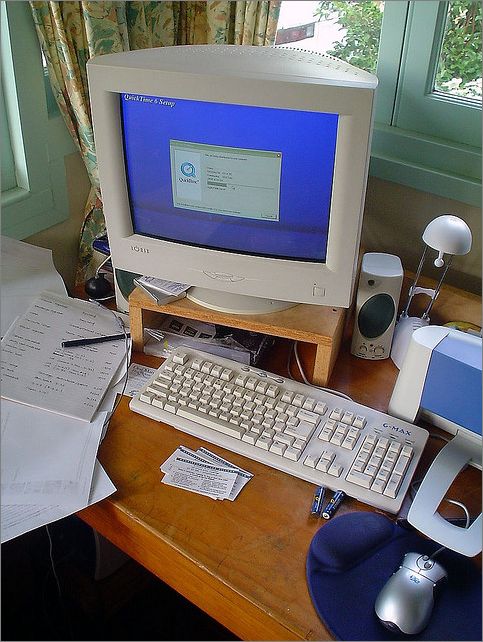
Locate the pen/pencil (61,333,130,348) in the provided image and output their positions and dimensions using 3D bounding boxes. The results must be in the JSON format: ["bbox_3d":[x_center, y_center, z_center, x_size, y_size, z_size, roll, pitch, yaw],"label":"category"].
[{"bbox_3d":[-0.272,0.037,0.924,0.089,0.010,0.010,-11,79,-27],"label":"pen/pencil"}]

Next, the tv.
[{"bbox_3d":[-0.014,-0.206,0.764,0.430,0.385,0.257,12,50,13],"label":"tv"}]
